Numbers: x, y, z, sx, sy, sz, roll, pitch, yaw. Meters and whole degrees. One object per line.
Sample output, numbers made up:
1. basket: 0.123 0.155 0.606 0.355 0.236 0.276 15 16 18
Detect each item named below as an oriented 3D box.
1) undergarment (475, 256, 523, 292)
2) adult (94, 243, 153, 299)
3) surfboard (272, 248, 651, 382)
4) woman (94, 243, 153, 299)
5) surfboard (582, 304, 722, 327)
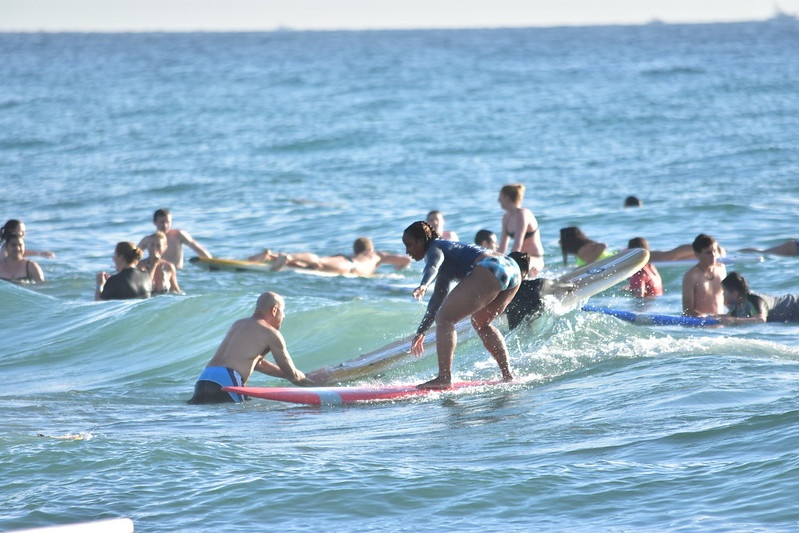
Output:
1. undergarment: 2.645 0.144 38.370 1.315 0.804 0.880 9 -2 -44
2. adult: -8.108 0.135 41.864 1.468 1.759 0.651 -4 1 -9
3. surfboard: 2.043 1.525 40.182 8.981 0.627 1.171 -19 13 -20
4. woman: -8.127 0.136 41.890 1.450 1.759 0.686 -4 1 -5
5. surfboard: 7.419 1.448 41.203 3.724 0.329 0.401 4 -10 7
